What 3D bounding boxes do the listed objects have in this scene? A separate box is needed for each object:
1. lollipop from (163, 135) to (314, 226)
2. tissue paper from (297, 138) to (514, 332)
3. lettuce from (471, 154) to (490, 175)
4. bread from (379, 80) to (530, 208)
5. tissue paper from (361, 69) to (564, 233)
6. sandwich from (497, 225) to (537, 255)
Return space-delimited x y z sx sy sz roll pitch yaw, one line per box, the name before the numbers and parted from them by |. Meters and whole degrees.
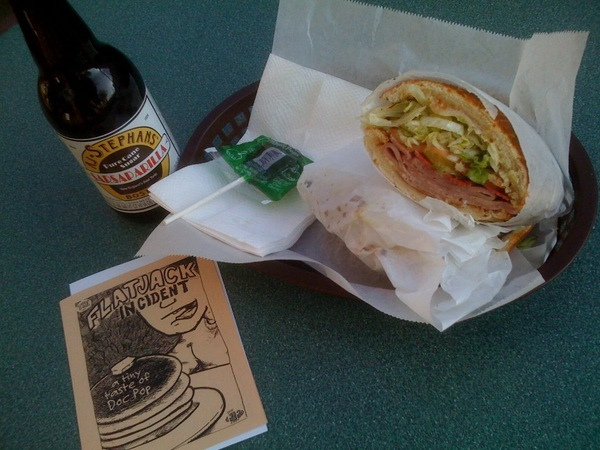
lollipop | -0.101 -0.091 0.970 0.220 0.037 0.154 -33 58 -31
tissue paper | 0.128 0.195 1.012 0.142 0.458 0.472 -15 77 -26
lettuce | 0.301 -0.100 0.878 0.027 0.013 0.027 -5 83 23
bread | 0.261 -0.144 0.860 0.199 0.198 0.163 24 36 39
tissue paper | 0.280 -0.145 0.882 0.335 0.082 0.217 36 109 3
sandwich | 0.384 0.023 0.925 0.066 0.050 0.022 -23 19 -10
